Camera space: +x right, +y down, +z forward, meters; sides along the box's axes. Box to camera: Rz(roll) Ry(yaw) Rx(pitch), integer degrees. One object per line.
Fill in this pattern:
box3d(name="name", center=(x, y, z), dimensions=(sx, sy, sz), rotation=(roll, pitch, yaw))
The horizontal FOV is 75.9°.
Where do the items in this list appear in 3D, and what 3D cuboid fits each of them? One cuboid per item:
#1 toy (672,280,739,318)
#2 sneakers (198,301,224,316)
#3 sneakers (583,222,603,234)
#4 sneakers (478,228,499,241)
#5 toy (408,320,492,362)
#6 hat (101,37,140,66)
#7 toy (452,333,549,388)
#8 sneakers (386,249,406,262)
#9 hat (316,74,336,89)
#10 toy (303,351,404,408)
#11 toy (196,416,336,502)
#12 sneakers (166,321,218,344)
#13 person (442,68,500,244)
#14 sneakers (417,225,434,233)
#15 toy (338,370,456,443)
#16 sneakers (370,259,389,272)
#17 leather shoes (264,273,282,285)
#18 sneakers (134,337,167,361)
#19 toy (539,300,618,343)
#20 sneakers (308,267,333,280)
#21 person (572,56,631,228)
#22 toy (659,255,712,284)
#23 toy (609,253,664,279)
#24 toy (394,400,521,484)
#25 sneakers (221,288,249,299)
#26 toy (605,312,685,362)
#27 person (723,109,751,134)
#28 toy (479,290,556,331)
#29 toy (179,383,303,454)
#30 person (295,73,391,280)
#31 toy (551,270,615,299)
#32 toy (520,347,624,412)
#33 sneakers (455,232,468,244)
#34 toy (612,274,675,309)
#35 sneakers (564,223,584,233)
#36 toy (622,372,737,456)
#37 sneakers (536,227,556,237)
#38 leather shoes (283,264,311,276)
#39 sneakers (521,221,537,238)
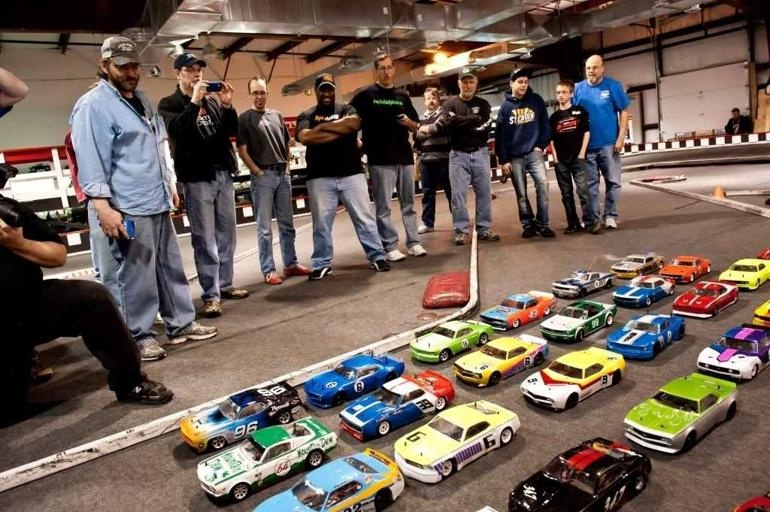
box3d(name="toy", center=(2.607, 0.332, 3.965), dimensions=(0.495, 0.127, 0.279), rotation=(-16, 14, -37))
box3d(name="sneakers", center=(-1.843, 0.562, 5.217), dimensions=(0.129, 0.116, 0.291), rotation=(-1, -5, -29))
box3d(name="sneakers", center=(2.907, -0.408, 6.881), dimensions=(0.223, 0.142, 0.295), rotation=(-2, 14, 18))
box3d(name="sneakers", center=(1.536, -0.298, 7.291), dimensions=(0.362, 0.143, 0.128), rotation=(2, 10, 30))
box3d(name="toy", center=(0.511, 0.642, 3.855), dimensions=(0.550, 0.153, 0.291), rotation=(-14, 13, -33))
box3d(name="hat", center=(-2.190, -1.658, 3.975), dimensions=(0.322, 0.150, 0.222), rotation=(18, 33, 30))
box3d(name="toy", center=(0.842, 0.724, 3.519), dimensions=(0.605, 0.150, 0.313), rotation=(-11, 13, -33))
box3d(name="sneakers", center=(0.131, 0.000, 6.584), dimensions=(0.129, 0.105, 0.260), rotation=(-4, -2, -23))
box3d(name="hat", center=(-0.749, -2.180, 6.077), dimensions=(0.283, 0.172, 0.364), rotation=(0, 3, -6))
box3d(name="toy", center=(-0.199, 0.847, 3.500), dimensions=(0.617, 0.154, 0.328), rotation=(-12, 13, -32))
box3d(name="toy", center=(-0.675, 1.155, 2.879), dimensions=(0.713, 0.180, 0.366), rotation=(-14, 23, -27))
box3d(name="sneakers", center=(-1.805, 0.718, 4.625), dimensions=(0.443, 0.174, 0.173), rotation=(-10, 14, -15))
box3d(name="person", center=(1.229, -1.451, 7.171), dimensions=(0.690, 2.456, 0.930), rotation=(-5, 15, 12))
box3d(name="sneakers", center=(0.754, -0.468, 8.600), dimensions=(0.354, 0.130, 0.130), rotation=(3, 6, -28))
box3d(name="toy", center=(0.095, 0.937, 3.189), dimensions=(0.682, 0.160, 0.342), rotation=(-15, 18, -26))
box3d(name="sneakers", center=(-0.069, 0.119, 6.227), dimensions=(0.103, 0.105, 0.291), rotation=(-3, 1, -22))
box3d(name="leather shoes", center=(-1.415, 0.293, 6.225), dimensions=(0.130, 0.081, 0.227), rotation=(-6, 4, -35))
box3d(name="sneakers", center=(-2.073, 0.798, 4.261), dimensions=(0.352, 0.131, 0.147), rotation=(3, 10, 37))
box3d(name="toy", center=(1.560, 0.479, 3.918), dimensions=(0.587, 0.154, 0.287), rotation=(-12, 10, -37))
box3d(name="sneakers", center=(-0.817, 0.218, 6.194), dimensions=(0.129, 0.119, 0.323), rotation=(5, 10, 44))
box3d(name="person", center=(3.116, -1.642, 7.088), dimensions=(0.714, 2.411, 0.908), rotation=(-1, 16, 24))
box3d(name="toy", center=(2.870, 0.101, 4.655), dimensions=(0.501, 0.131, 0.246), rotation=(-21, 26, -28))
box3d(name="toy", center=(2.554, 0.075, 4.917), dimensions=(0.521, 0.131, 0.270), rotation=(-13, 8, -38))
box3d(name="toy", center=(0.414, 1.045, 2.869), dimensions=(0.659, 0.184, 0.360), rotation=(-15, 17, -26))
box3d(name="sneakers", center=(-1.762, 0.434, 5.794), dimensions=(0.348, 0.135, 0.121), rotation=(-3, 12, 0))
box3d(name="toy", center=(1.924, 0.555, 3.567), dimensions=(0.533, 0.135, 0.295), rotation=(-13, 14, -38))
box3d(name="person", center=(12.577, -4.824, 17.416), dimensions=(0.786, 0.882, 2.457), rotation=(3, 16, 36))
box3d(name="toy", center=(1.168, 0.450, 4.252), dimensions=(0.636, 0.160, 0.303), rotation=(-13, 12, -36))
box3d(name="toy", center=(-0.928, 1.028, 3.197), dimensions=(0.689, 0.169, 0.355), rotation=(-12, 21, -29))
box3d(name="person", center=(-0.621, -0.990, 6.099), dimensions=(1.013, 2.440, 0.647), rotation=(-10, 15, -8))
box3d(name="toy", center=(1.866, 0.240, 4.633), dimensions=(0.520, 0.144, 0.269), rotation=(-16, 20, -30))
box3d(name="toy", center=(1.255, 0.768, 3.220), dimensions=(0.612, 0.160, 0.335), rotation=(-15, 17, -31))
box3d(name="sneakers", center=(1.113, -0.251, 7.198), dimensions=(0.107, 0.098, 0.252), rotation=(-3, 1, 23))
box3d(name="toy", center=(2.285, 0.274, 4.275), dimensions=(0.528, 0.125, 0.269), rotation=(-14, 12, -40))
box3d(name="sneakers", center=(2.741, -0.400, 7.113), dimensions=(0.334, 0.120, 0.125), rotation=(-7, 11, -28))
box3d(name="toy", center=(1.734, 0.879, 2.832), dimensions=(0.635, 0.152, 0.356), rotation=(-18, 16, -31))
box3d(name="sneakers", center=(2.308, -0.344, 7.016), dimensions=(0.148, 0.120, 0.299), rotation=(-8, 13, -5))
box3d(name="leather shoes", center=(-1.179, 0.183, 6.605), dimensions=(0.441, 0.147, 0.145), rotation=(-2, 8, 6))
box3d(name="sneakers", center=(2.108, -0.369, 7.179), dimensions=(0.135, 0.127, 0.338), rotation=(1, 8, 37))
